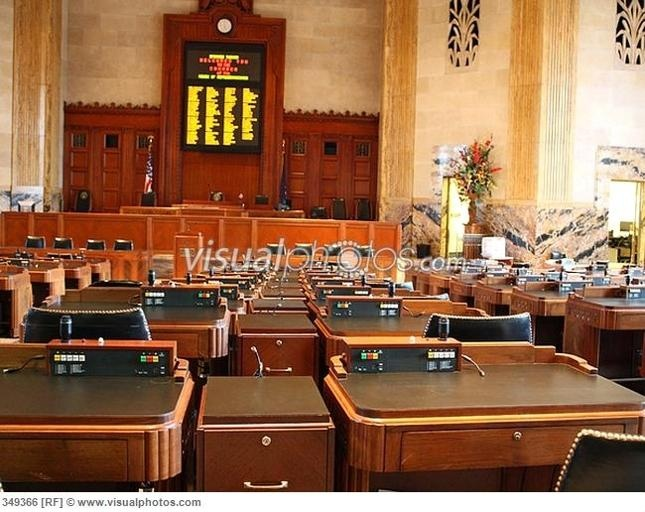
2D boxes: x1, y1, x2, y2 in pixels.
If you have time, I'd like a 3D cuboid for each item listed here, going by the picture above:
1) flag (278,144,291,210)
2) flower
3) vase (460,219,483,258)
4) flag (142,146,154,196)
[{"bbox_3d":[-0.889,-2.000,16.916,0.230,1.572,0.704,0,4,8],"label":"flag"},{"bbox_3d":[2.972,-1.452,13.878,0.977,1.736,0.787,2,5,34],"label":"flower"},{"bbox_3d":[2.851,-0.286,13.670,0.530,0.822,0.541,3,-3,30],"label":"vase"},{"bbox_3d":[-4.017,-2.047,16.581,0.229,1.118,1.158,-1,4,-13],"label":"flag"}]
